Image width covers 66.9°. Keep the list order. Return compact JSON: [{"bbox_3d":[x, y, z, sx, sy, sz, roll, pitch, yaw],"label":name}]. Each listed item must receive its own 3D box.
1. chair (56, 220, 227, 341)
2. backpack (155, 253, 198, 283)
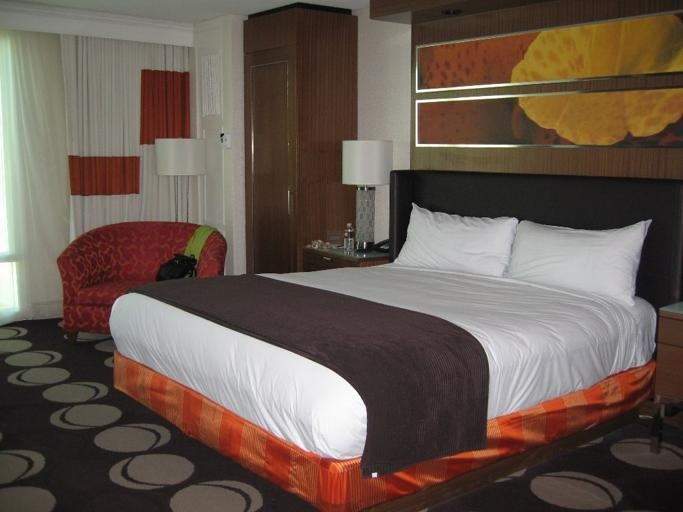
[{"bbox_3d":[-2.045,0.087,5.455,1.496,1.322,1.229,1,0,-6],"label":"chair"},{"bbox_3d":[-1.621,0.136,5.117,0.266,0.252,0.419,13,23,42],"label":"backpack"}]
